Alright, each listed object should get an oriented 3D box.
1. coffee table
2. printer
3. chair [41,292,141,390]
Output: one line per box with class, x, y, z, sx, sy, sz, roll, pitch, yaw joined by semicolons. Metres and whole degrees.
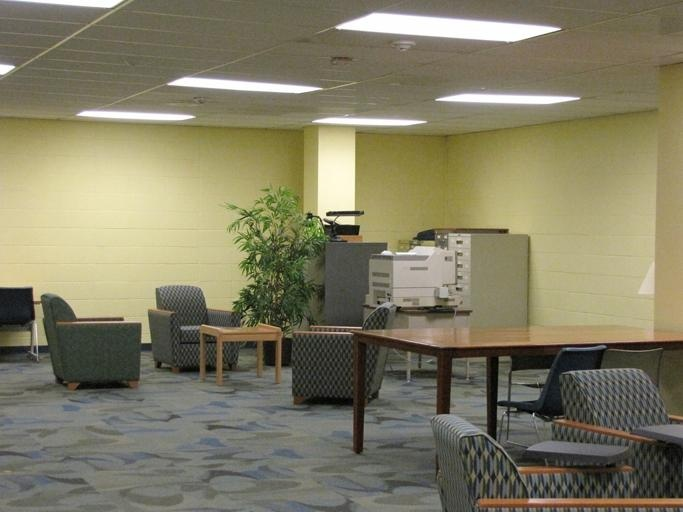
coffee table;-1.453;1.352;7.973;1.035;0.654;1.009;1;-4;-18
printer;0.931;0.334;8.279;1.236;0.677;0.886;1;-1;-25
chair;-3.276;1.116;7.855;1.581;1.229;1.346;0;1;-24
